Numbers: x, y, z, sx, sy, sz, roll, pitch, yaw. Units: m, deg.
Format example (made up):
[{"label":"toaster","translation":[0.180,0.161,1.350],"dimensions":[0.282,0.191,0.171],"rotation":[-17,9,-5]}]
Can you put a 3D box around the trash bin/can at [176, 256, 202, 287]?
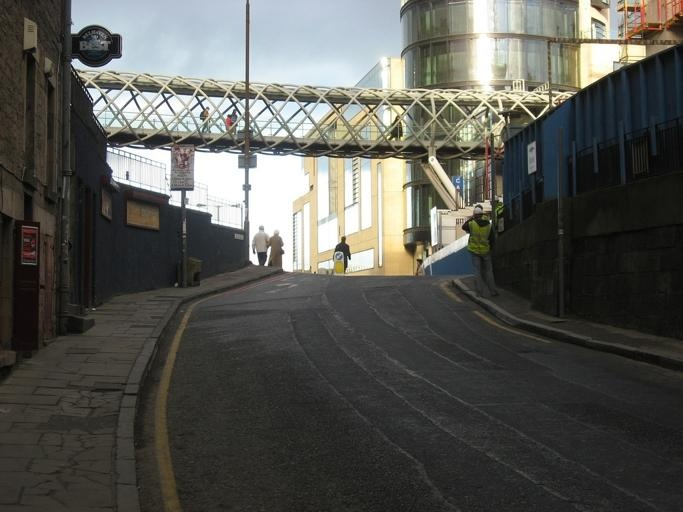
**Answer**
[{"label":"trash bin/can","translation":[-5.104,0.547,24.601],"dimensions":[0.793,1.276,0.690],"rotation":[-3,-2,16]}]

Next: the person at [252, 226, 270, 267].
[{"label":"person","translation":[-3.595,-0.462,33.678],"dimensions":[0.706,2.083,0.689],"rotation":[-1,27,-5]}]
